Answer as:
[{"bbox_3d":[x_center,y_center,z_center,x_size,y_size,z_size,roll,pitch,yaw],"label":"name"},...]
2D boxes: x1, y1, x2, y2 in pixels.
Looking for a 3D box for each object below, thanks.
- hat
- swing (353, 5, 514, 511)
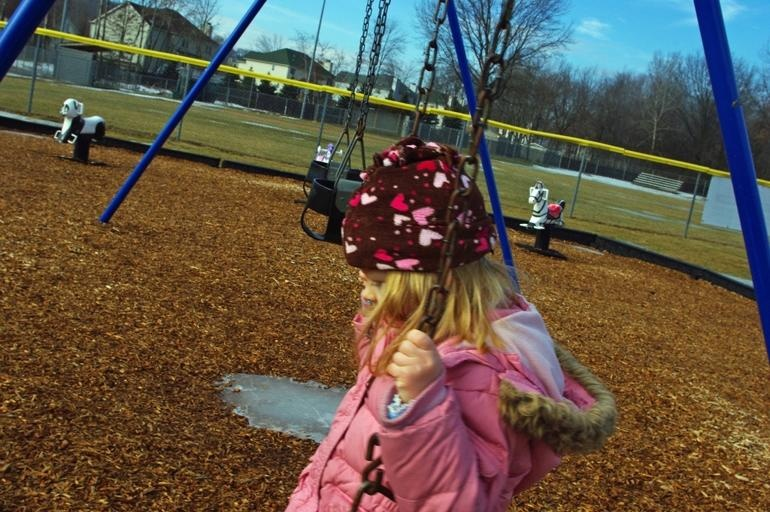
[{"bbox_3d":[0.143,-0.202,2.730,0.635,0.536,0.636,6,3,-10],"label":"hat"},{"bbox_3d":[0.217,-0.067,2.546,0.220,2.077,0.839,12,10,9],"label":"swing"}]
